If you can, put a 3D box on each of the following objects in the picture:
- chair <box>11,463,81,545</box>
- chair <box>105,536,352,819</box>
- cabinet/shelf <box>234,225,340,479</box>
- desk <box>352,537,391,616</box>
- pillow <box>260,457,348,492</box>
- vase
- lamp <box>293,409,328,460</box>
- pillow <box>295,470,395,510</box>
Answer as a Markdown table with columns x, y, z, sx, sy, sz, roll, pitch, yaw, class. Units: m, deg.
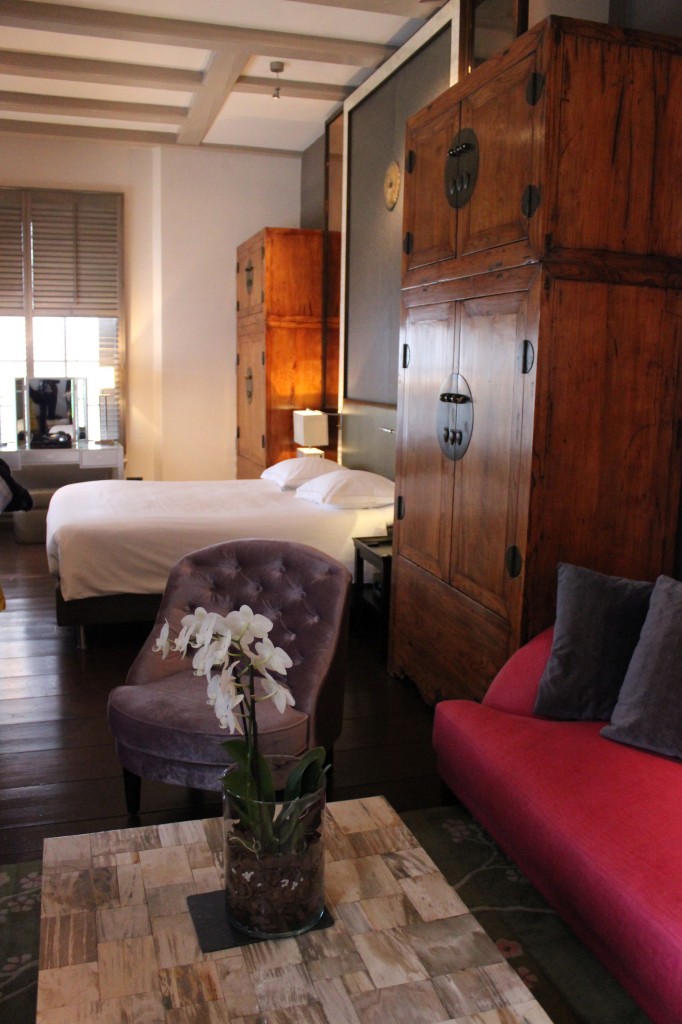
| x | y | z | sx | sy | sz | roll | pitch | yaw | class |
| --- | --- | --- | --- | --- | --- | --- | --- | --- | --- |
| -2.360 | -0.123 | 5.923 | 0.630 | 0.656 | 0.947 | -2 | 9 | -18 | chair |
| -0.309 | 0.463 | 2.063 | 0.558 | 0.729 | 0.642 | 4 | 1 | 7 | chair |
| -0.495 | -1.183 | 5.756 | 0.476 | 1.868 | 1.255 | -3 | 6 | -38 | cabinet/shelf |
| 0.143 | 0.296 | 3.592 | 0.219 | 0.349 | 0.359 | 13 | -6 | 8 | desk |
| -0.219 | -0.264 | 4.633 | 0.308 | 0.100 | 0.289 | -26 | 16 | -20 | pillow |
| -0.096 | 0.496 | 1.060 | 0.086 | 0.141 | 0.089 | -12 | 23 | -27 | vase |
| -0.207 | -0.567 | 5.367 | 0.257 | 0.314 | 0.494 | 1 | 5 | -2 | lamp |
| 0.020 | -0.114 | 3.984 | 0.251 | 0.102 | 0.310 | -7 | 14 | -34 | pillow |
